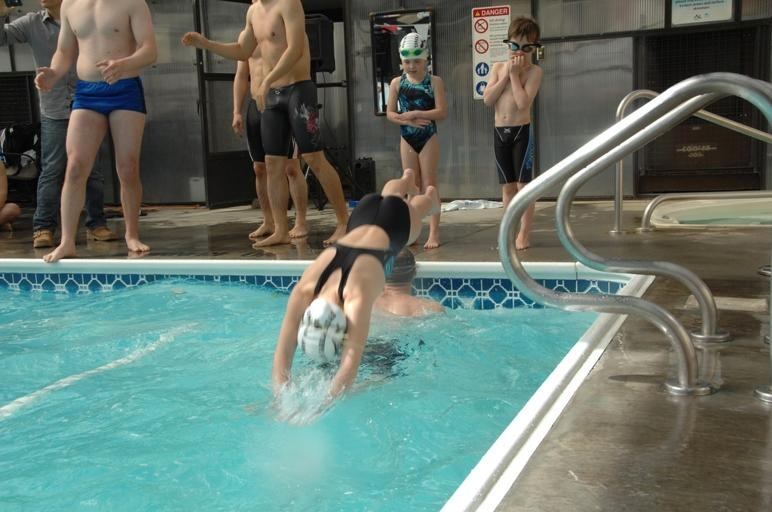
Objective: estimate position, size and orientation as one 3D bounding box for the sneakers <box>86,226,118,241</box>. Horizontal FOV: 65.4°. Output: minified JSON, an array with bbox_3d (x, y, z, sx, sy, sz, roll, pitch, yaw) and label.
[{"bbox_3d":[-2.844,-0.237,6.039,0.345,0.136,0.142,2,9,35],"label":"sneakers"}]

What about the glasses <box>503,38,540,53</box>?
[{"bbox_3d":[1.072,-1.662,4.766,0.226,0.107,0.308,2,9,18],"label":"glasses"}]

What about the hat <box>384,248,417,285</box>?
[{"bbox_3d":[0.106,0.071,3.803,0.168,0.215,0.218,0,3,4],"label":"hat"}]

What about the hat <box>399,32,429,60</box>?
[{"bbox_3d":[0.218,-1.742,4.964,0.200,0.180,0.234,-3,19,6],"label":"hat"}]

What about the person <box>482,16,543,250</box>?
[{"bbox_3d":[1.019,-1.168,4.896,0.457,1.494,0.407,3,10,24],"label":"person"}]

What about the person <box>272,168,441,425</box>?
[{"bbox_3d":[-0.091,-0.015,3.199,0.411,0.480,1.832,11,41,20],"label":"person"}]
